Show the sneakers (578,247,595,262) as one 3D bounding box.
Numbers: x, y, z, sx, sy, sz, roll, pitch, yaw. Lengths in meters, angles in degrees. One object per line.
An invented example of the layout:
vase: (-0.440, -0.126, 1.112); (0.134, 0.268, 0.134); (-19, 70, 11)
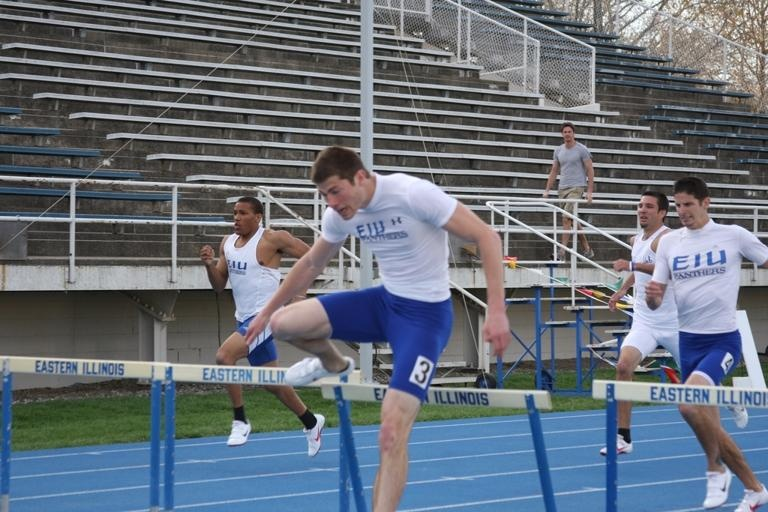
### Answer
sneakers: (3.501, -0.028, 22.325); (0.207, 0.168, 0.465); (35, -4, -7)

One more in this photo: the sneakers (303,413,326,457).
sneakers: (-0.827, 2.252, 16.304); (0.282, 0.627, 0.225); (17, -18, -21)

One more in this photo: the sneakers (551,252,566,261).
sneakers: (2.968, 0.017, 22.012); (0.330, 0.127, 0.111); (7, 2, 30)
